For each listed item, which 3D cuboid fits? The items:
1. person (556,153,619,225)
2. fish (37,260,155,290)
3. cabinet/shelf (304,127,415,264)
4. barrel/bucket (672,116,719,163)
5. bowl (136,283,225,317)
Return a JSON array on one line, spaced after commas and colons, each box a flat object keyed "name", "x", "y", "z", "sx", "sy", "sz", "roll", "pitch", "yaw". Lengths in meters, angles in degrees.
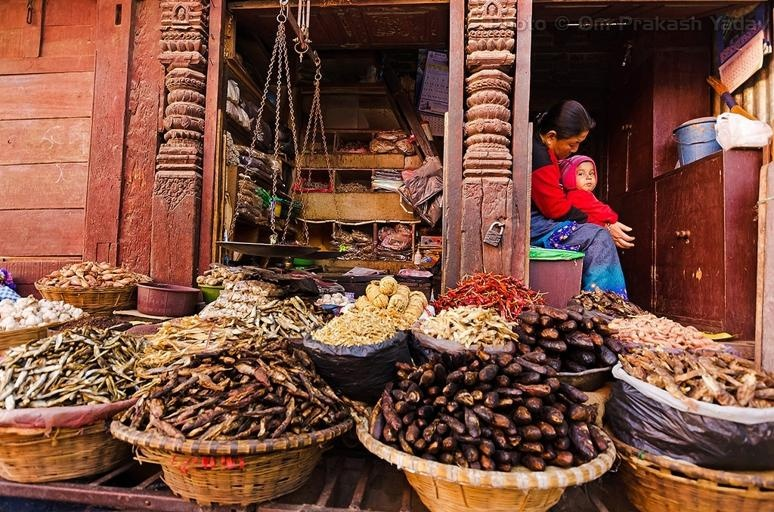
[{"name": "person", "x": 2.035, "y": -0.690, "z": 5.643, "sx": 0.557, "sy": 0.708, "sz": 0.446, "roll": 2, "pitch": 14, "yaw": 8}, {"name": "fish", "x": -2.659, "y": 0.135, "z": 5.016, "sx": 0.483, "sy": 0.231, "sz": 0.953, "roll": 7, "pitch": 9, "yaw": 41}, {"name": "cabinet/shelf", "x": -0.334, "y": -0.814, "z": 7.333, "sx": 1.926, "sy": 1.902, "sz": 0.662, "roll": 2, "pitch": -8, "yaw": 5}, {"name": "barrel/bucket", "x": 3.131, "y": -1.189, "z": 5.672, "sx": 0.295, "sy": 0.443, "sz": 0.393, "roll": 0, "pitch": 7, "yaw": -1}, {"name": "bowl", "x": -1.929, "y": 0.405, "z": 4.916, "sx": 0.501, "sy": 0.185, "sz": 0.419, "roll": 2, "pitch": 1, "yaw": 20}]
